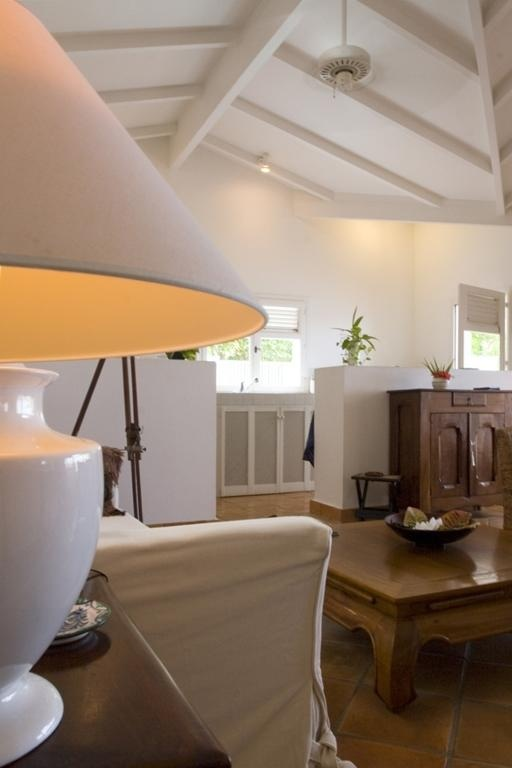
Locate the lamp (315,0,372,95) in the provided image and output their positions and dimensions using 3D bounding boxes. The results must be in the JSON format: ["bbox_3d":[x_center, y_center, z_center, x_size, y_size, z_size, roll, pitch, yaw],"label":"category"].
[{"bbox_3d":[0.613,-2.164,3.842,0.367,0.130,0.413,-1,-3,24],"label":"lamp"}]

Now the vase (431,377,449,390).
[{"bbox_3d":[1.486,-0.001,4.550,0.109,0.081,0.110,1,-6,-10],"label":"vase"}]

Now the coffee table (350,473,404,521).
[{"bbox_3d":[0.912,0.855,4.324,0.432,0.440,0.335,1,2,20],"label":"coffee table"}]

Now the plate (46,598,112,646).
[{"bbox_3d":[-0.197,0.257,0.634,0.053,0.013,0.056,0,2,-1],"label":"plate"}]
